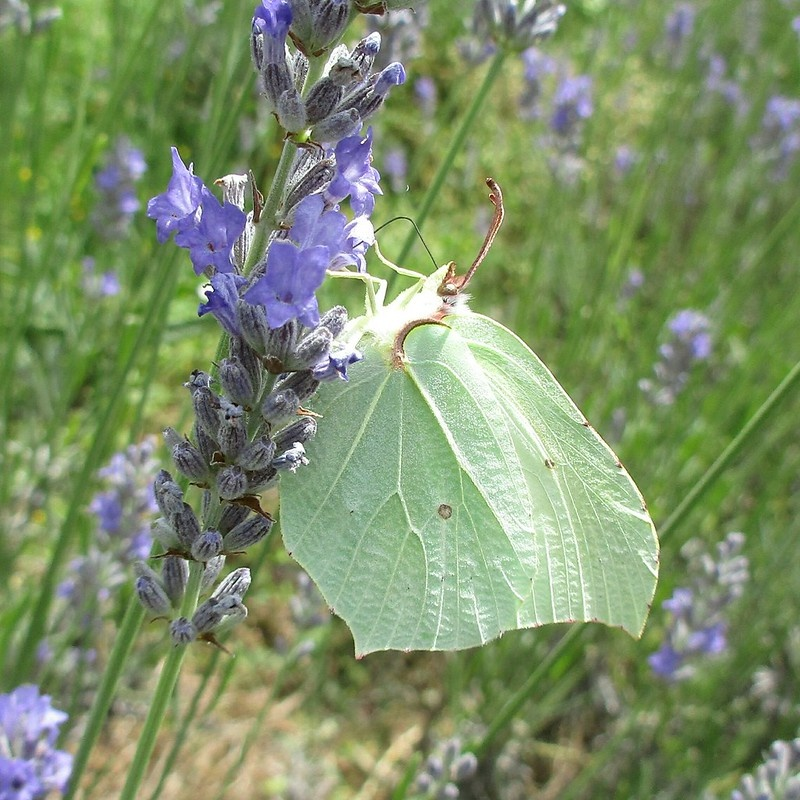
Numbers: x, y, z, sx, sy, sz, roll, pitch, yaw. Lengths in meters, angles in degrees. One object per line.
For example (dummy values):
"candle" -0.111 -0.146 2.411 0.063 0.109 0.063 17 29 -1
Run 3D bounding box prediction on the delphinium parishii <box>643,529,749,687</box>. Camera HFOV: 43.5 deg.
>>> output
"delphinium parishii" 1.092 0.707 3.542 0.258 0.623 0.285 25 28 14
